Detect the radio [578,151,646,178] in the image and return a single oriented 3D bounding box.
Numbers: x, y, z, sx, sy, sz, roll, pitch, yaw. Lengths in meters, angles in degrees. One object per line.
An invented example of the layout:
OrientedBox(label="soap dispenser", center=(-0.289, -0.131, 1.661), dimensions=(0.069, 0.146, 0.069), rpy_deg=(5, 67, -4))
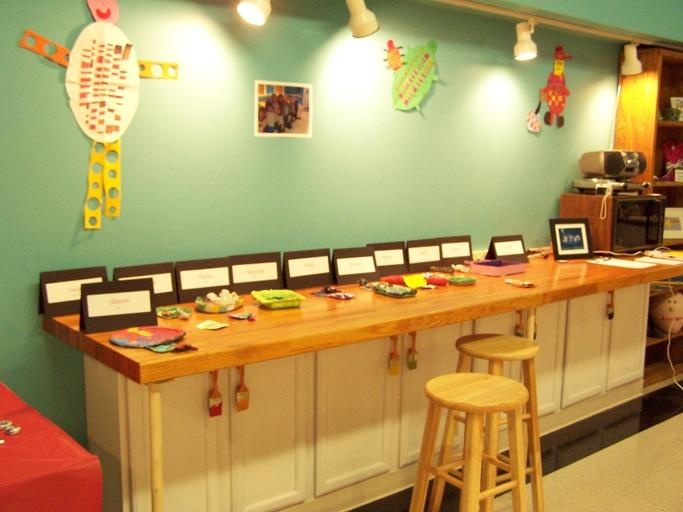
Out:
OrientedBox(label="radio", center=(2.018, -0.680, 3.967), dimensions=(0.257, 0.162, 0.327), rpy_deg=(-5, 9, -32))

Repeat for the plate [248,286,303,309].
OrientedBox(label="plate", center=(-0.302, 0.204, 2.526), dimensions=(0.238, 0.060, 0.185), rpy_deg=(0, 12, -7))

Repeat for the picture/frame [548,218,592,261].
OrientedBox(label="picture/frame", center=(1.611, -0.118, 3.736), dimensions=(0.330, 0.289, 0.027), rpy_deg=(-3, -5, -12))

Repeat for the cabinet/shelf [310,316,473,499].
OrientedBox(label="cabinet/shelf", center=(0.239, 0.755, 2.849), dimensions=(0.765, 0.661, 0.270), rpy_deg=(0, -4, -9))

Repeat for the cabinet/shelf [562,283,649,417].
OrientedBox(label="cabinet/shelf", center=(1.765, 0.565, 3.771), dimensions=(0.865, 0.799, 0.298), rpy_deg=(-9, 13, -25))

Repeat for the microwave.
OrientedBox(label="microwave", center=(2.143, -0.255, 4.165), dimensions=(0.817, 0.393, 0.535), rpy_deg=(-8, 9, -40))
